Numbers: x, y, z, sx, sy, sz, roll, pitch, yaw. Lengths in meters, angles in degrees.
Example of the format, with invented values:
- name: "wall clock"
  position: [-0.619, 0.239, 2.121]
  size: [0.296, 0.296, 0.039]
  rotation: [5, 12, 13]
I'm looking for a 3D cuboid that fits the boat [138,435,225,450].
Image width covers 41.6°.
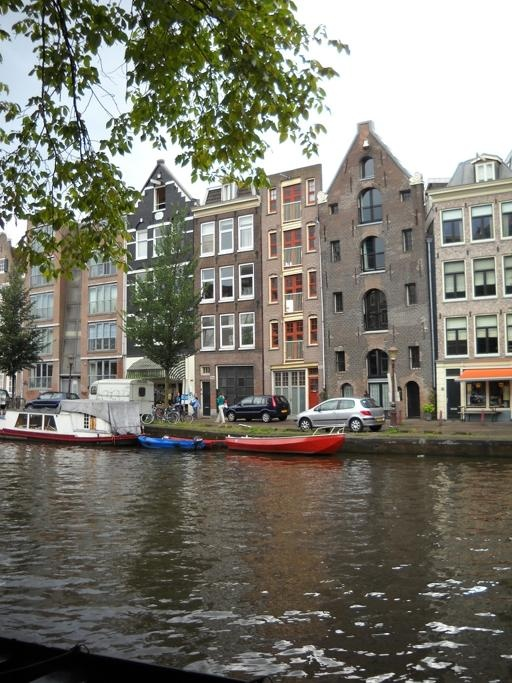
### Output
- name: "boat"
  position: [-3.088, 4.311, 28.598]
  size: [3.215, 0.507, 0.841]
  rotation: [-1, -6, 32]

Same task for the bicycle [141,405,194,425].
- name: "bicycle"
  position: [-4.644, 4.025, 35.120]
  size: [2.355, 0.877, 1.141]
  rotation: [-2, 22, 13]

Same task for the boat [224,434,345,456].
- name: "boat"
  position: [0.766, 4.018, 25.190]
  size: [5.404, 0.873, 1.352]
  rotation: [-9, -13, 37]

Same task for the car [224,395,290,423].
- name: "car"
  position: [0.141, 3.630, 36.164]
  size: [2.736, 1.092, 1.567]
  rotation: [2, -1, 26]
